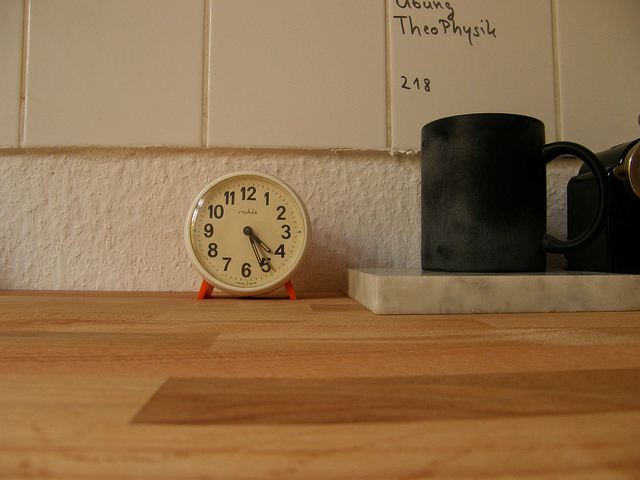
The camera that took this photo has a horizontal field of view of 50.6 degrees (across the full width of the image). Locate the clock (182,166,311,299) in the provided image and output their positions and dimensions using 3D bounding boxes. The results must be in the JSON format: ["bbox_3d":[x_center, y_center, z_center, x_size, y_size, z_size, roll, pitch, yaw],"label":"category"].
[{"bbox_3d":[-0.120,-0.012,1.117,0.200,0.181,0.045,3,-1,-13],"label":"clock"}]

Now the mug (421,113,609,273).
[{"bbox_3d":[0.287,-0.069,1.089,0.353,0.298,0.195,0,-2,-3],"label":"mug"}]
